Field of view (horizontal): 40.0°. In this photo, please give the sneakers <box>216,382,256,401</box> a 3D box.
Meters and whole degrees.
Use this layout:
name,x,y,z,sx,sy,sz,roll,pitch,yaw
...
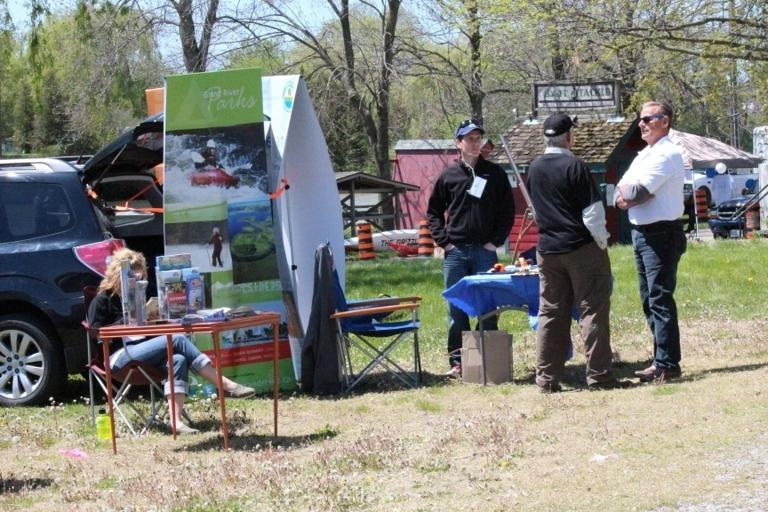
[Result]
name,x,y,z,sx,sy,sz,roll,pitch,yaw
sneakers,-1.800,1.645,12.883,0.178,0.125,0.415,-6,1,-42

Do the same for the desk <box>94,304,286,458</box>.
name,x,y,z,sx,sy,sz,roll,pitch,yaw
desk,-2.132,1.442,12.476,1.341,1.499,1.632,-6,-5,16

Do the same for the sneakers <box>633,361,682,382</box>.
name,x,y,z,sx,sy,sz,roll,pitch,yaw
sneakers,3.352,1.399,12.905,0.606,0.264,0.224,1,-3,6

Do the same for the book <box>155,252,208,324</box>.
name,x,y,z,sx,sy,sz,roll,pitch,yaw
book,-2.312,0.334,11.959,0.498,0.701,0.233,-7,11,-13

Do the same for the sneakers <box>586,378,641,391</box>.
name,x,y,z,sx,sy,sz,roll,pitch,yaw
sneakers,2.825,1.533,12.932,0.589,0.238,0.208,2,-5,-14

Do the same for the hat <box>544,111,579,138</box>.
name,x,y,z,sx,sy,sz,roll,pitch,yaw
hat,2.187,-1.614,12.961,0.247,0.159,0.375,2,35,32

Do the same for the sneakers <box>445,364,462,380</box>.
name,x,y,z,sx,sy,sz,roll,pitch,yaw
sneakers,0.930,1.531,14.043,0.092,0.145,0.191,-2,-6,-36

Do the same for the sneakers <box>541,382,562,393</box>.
name,x,y,z,sx,sy,sz,roll,pitch,yaw
sneakers,2.060,1.607,13.018,0.156,0.064,0.147,-3,2,-8

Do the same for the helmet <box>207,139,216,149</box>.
name,x,y,z,sx,sy,sz,roll,pitch,yaw
helmet,-2.201,-1.433,13.495,0.085,0.100,0.118,3,25,-3

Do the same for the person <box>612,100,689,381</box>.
name,x,y,z,sx,sy,sz,roll,pitch,yaw
person,3.289,-0.157,12.882,0.832,3.365,0.776,-3,11,7

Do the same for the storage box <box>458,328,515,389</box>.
name,x,y,z,sx,sy,sz,roll,pitch,yaw
storage box,1.348,1.290,13.775,0.669,0.668,0.525,-3,5,7

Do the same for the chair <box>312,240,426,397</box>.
name,x,y,z,sx,sy,sz,roll,pitch,yaw
chair,-0.215,0.807,13.893,1.700,1.851,1.306,-3,2,-13

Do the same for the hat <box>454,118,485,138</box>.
name,x,y,z,sx,sy,sz,roll,pitch,yaw
hat,1.116,-1.647,13.783,0.363,0.237,0.369,-4,11,2

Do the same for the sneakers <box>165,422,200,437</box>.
name,x,y,z,sx,sy,sz,roll,pitch,yaw
sneakers,-2.410,2.057,12.632,0.416,0.169,0.154,1,4,5
